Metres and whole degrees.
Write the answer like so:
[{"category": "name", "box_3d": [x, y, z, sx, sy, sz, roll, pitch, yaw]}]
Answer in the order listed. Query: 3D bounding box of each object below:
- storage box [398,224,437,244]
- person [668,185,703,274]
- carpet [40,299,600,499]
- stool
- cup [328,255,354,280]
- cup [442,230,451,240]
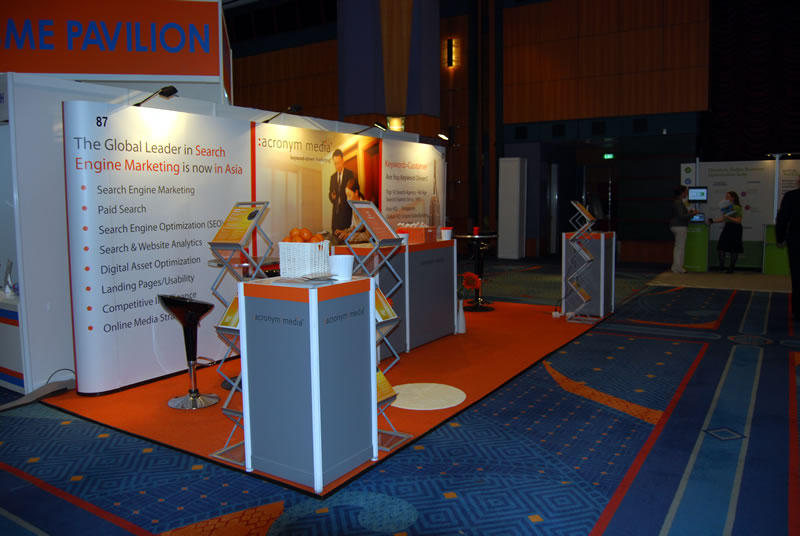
[{"category": "storage box", "box_3d": [0.170, -0.377, 6.597, 0.319, 0.188, 0.542, 8, 16, 29]}, {"category": "person", "box_3d": [5.962, -0.827, 12.053, 0.499, 1.754, 1.074, 7, 16, 29]}, {"category": "carpet", "box_3d": [-0.236, 1.063, 5.932, 5.661, 0.285, 2.757, -12, 18, -39]}, {"category": "stool", "box_3d": [-1.904, 0.688, 5.153, 0.458, 0.992, 0.743, -5, 15, -19]}, {"category": "cup", "box_3d": [-0.428, -0.005, 4.090, 0.141, 0.144, 0.176, -2, -5, 10]}, {"category": "cup", "box_3d": [0.566, -0.405, 7.028, 0.121, 0.129, 0.123, 0, 2, 0]}]
